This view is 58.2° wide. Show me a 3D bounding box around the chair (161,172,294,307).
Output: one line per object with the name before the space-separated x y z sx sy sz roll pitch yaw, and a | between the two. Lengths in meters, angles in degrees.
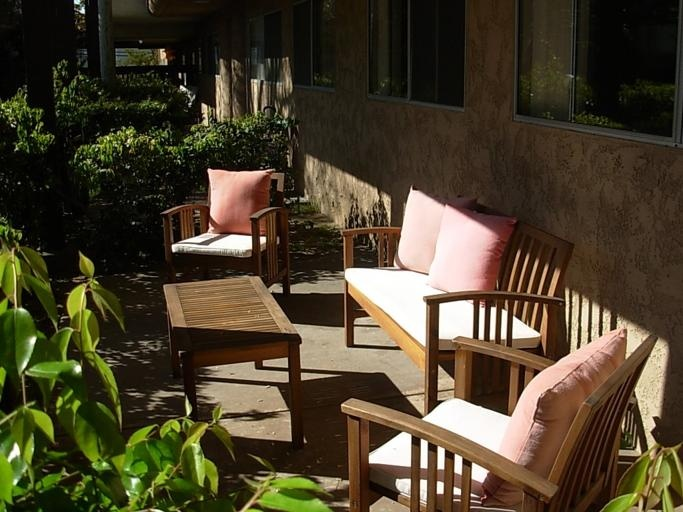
chair | -0.951 -0.178 5.476 0.847 1.235 0.820 3 12 7

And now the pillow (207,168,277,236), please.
pillow | -0.900 -0.469 5.482 0.584 0.604 0.236 1 -1 11

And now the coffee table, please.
coffee table | -0.644 0.387 3.533 0.648 0.744 1.376 -2 18 -14

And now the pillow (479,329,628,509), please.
pillow | 0.785 0.602 2.243 0.278 0.553 0.614 14 19 39

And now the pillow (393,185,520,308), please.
pillow | 0.763 -0.041 3.976 0.148 0.440 0.723 13 3 -26
